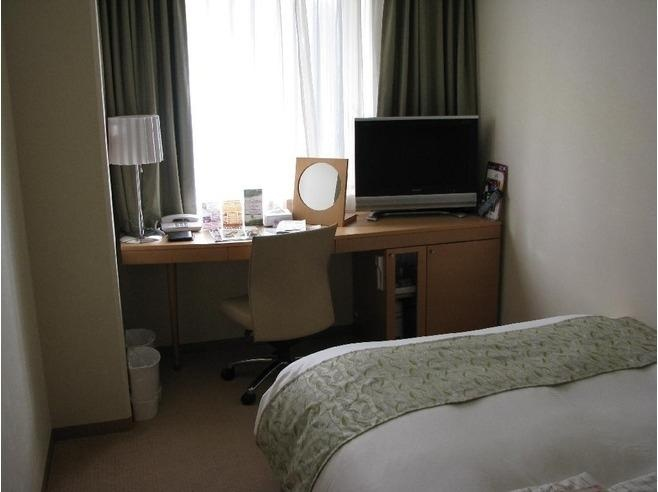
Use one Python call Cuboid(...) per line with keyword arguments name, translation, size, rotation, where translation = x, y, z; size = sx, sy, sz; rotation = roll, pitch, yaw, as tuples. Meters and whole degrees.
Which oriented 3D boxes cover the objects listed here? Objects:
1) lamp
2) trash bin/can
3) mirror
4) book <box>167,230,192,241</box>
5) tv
Cuboid(name="lamp", translation=(-1.170, -0.417, 3.243), size=(0.300, 0.748, 0.360), rotation=(-8, 14, -22))
Cuboid(name="trash bin/can", translation=(-1.100, 0.771, 3.115), size=(0.112, 0.249, 0.371), rotation=(-2, 20, -18))
Cuboid(name="mirror", translation=(-0.069, -0.385, 3.618), size=(0.349, 0.479, 0.032), rotation=(3, 29, -3))
Cuboid(name="book", translation=(-0.922, -0.059, 3.271), size=(0.151, 0.040, 0.161), rotation=(-9, 15, -18))
Cuboid(name="tv", translation=(0.591, -0.549, 3.613), size=(0.607, 0.536, 0.092), rotation=(-1, 4, -2))
